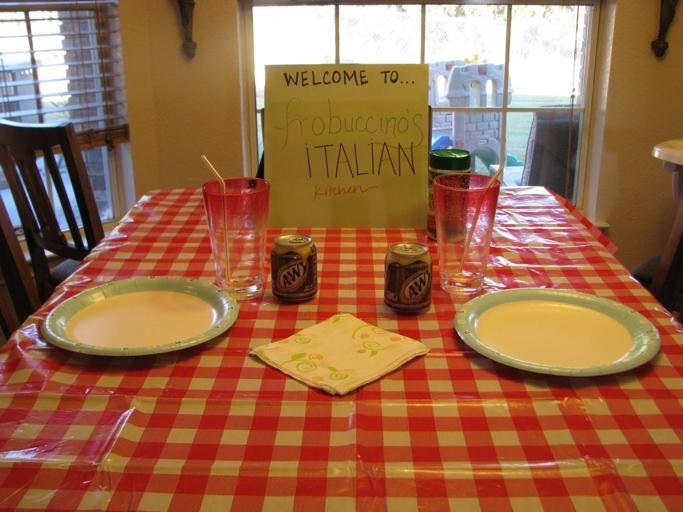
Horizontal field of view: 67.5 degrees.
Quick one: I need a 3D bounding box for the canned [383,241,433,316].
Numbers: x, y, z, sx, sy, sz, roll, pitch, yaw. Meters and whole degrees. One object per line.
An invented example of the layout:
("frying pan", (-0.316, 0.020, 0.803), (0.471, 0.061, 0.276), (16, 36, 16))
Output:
("canned", (0.120, 0.046, 0.916), (0.089, 0.128, 0.091), (15, 30, 36))
